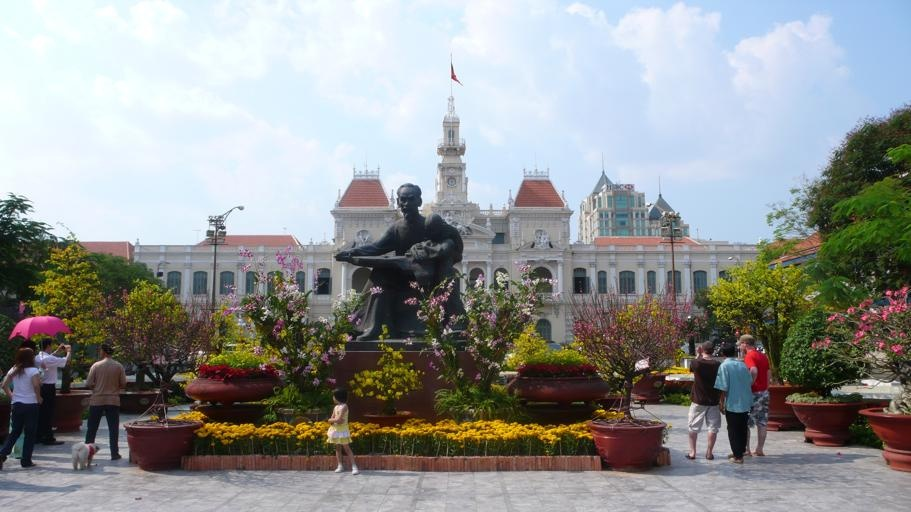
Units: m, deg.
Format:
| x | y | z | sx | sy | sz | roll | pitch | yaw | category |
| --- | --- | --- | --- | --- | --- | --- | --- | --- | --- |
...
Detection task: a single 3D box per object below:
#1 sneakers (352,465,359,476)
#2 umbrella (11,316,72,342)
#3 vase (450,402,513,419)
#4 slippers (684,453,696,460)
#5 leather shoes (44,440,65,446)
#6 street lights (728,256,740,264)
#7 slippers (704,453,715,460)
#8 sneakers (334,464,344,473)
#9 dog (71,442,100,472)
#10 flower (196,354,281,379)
| x | y | z | sx | sy | sz | roll | pitch | yaw | category |
| --- | --- | --- | --- | --- | --- | --- | --- | --- | --- |
| -2.323 | 5.376 | 21.338 | 0.176 | 0.185 | 0.267 | -2 | 14 | -7 | sneakers |
| -12.233 | 2.255 | 26.137 | 1.677 | 0.489 | 1.535 | -2 | -5 | -4 | umbrella |
| 0.844 | 4.193 | 22.582 | 1.505 | 0.473 | 0.344 | 1 | 15 | 3 | vase |
| 6.176 | 5.264 | 22.369 | 0.271 | 0.190 | 0.308 | 4 | 15 | 16 | slippers |
| -10.828 | 5.285 | 23.866 | 0.503 | 0.181 | 0.160 | 1 | -1 | -7 | leather shoes |
| 23.076 | 0.368 | 70.780 | 0.715 | 0.399 | 0.632 | 0 | -6 | 0 | street lights |
| 6.671 | 5.282 | 22.342 | 0.182 | 0.194 | 0.326 | 4 | 15 | 15 | slippers |
| -2.710 | 5.403 | 21.407 | 0.275 | 0.145 | 0.136 | 2 | -9 | -5 | sneakers |
| -9.171 | 5.132 | 21.920 | 0.470 | 0.675 | 0.685 | 1 | 15 | 5 | dog |
| -5.742 | 3.099 | 23.527 | 1.253 | 0.479 | 1.186 | 1 | -11 | -1 | flower |
